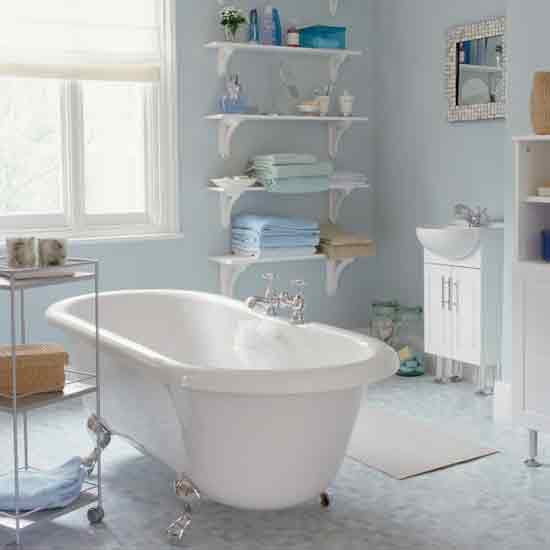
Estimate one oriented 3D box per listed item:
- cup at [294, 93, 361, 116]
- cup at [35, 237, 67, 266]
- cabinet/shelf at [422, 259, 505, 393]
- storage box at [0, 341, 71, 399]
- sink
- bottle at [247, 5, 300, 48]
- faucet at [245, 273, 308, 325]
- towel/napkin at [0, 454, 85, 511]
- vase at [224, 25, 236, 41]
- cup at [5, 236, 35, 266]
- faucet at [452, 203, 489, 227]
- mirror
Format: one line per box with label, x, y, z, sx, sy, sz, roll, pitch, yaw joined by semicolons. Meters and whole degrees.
cup;0.303;-0.984;3.605;0.351;0.145;0.157;-2;6;-33
cup;-0.601;-0.063;1.631;0.090;0.088;0.067;-3;5;-41
cabinet/shelf;1.031;0.235;3.325;0.217;0.663;0.400;-8;10;-29
storage box;-0.665;0.248;1.652;0.174;0.106;0.128;3;2;44
sink;0.982;-0.201;3.172;0.304;0.127;0.224;-5;11;-34
bottle;-0.004;-1.434;3.488;0.328;0.266;0.188;-2;4;-27
faucet;0.000;0.095;2.406;0.306;0.180;0.067;6;-8;-40
towel/napkin;-0.663;0.592;1.727;0.116;0.054;0.147;4;4;32
vase;-0.253;-1.336;3.332;0.072;0.060;0.079;-11;17;-39
cup;-0.674;-0.065;1.606;0.076;0.081;0.075;2;5;0
faucet;1.063;-0.319;3.272;0.083;0.105;0.226;-2;8;-17
mirror;1.074;-1.083;3.246;0.041;0.526;0.403;-2;4;-28
